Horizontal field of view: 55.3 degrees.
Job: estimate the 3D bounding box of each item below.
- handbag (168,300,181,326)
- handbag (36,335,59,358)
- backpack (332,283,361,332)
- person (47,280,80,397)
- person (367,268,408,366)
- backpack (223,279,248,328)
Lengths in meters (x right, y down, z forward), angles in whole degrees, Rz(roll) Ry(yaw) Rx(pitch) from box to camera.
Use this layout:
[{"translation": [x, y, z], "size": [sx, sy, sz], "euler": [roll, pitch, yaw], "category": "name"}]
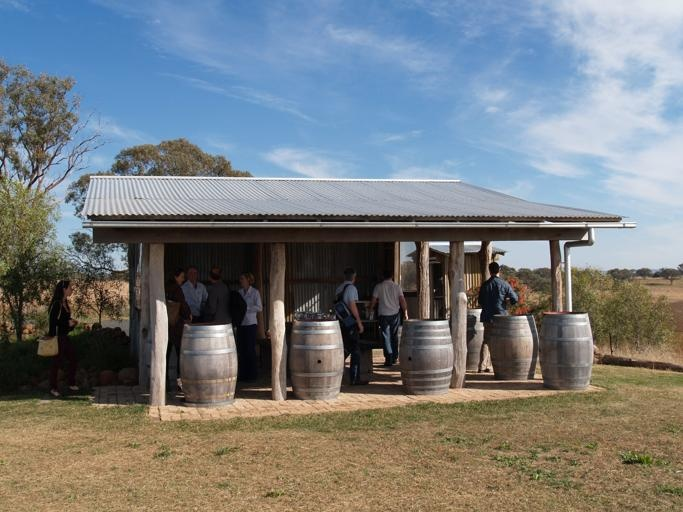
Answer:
[{"translation": [-3.016, 1.014, 11.751], "size": [0.244, 0.418, 0.195], "euler": [-3, 6, -24], "category": "handbag"}, {"translation": [-5.364, 1.654, 11.927], "size": [0.344, 0.365, 0.265], "euler": [-3, 6, -22], "category": "handbag"}, {"translation": [0.094, 0.934, 11.958], "size": [0.436, 0.863, 0.349], "euler": [-1, 5, 0], "category": "backpack"}, {"translation": [-5.255, 1.528, 12.243], "size": [0.494, 2.136, 0.812], "euler": [-3, 6, -25], "category": "person"}, {"translation": [0.972, 1.292, 13.488], "size": [0.691, 2.130, 1.530], "euler": [0, 5, 5], "category": "person"}, {"translation": [-2.007, 0.904, 12.415], "size": [0.547, 0.760, 0.281], "euler": [2, 8, -17], "category": "backpack"}]
